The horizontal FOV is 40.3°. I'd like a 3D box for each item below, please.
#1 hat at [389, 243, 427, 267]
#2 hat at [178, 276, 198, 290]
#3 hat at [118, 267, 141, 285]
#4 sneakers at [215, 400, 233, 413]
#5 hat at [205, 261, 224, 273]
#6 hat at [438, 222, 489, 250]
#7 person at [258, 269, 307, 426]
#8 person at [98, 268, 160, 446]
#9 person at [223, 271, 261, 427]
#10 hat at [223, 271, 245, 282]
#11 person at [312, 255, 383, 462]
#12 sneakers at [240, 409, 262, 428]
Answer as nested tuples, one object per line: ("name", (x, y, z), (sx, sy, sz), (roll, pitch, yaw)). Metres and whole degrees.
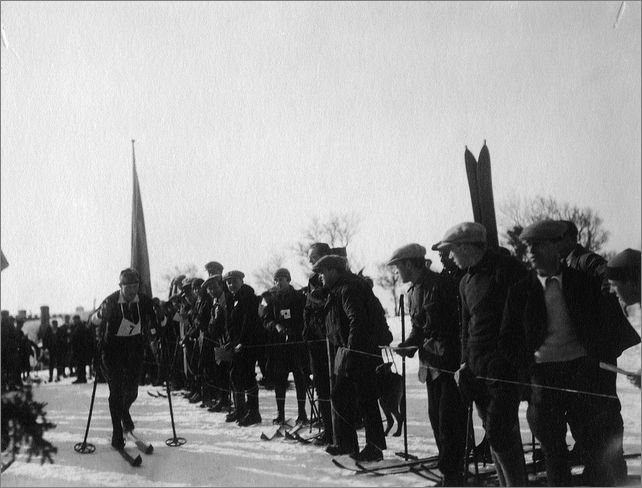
("hat", (0.989, 0.107, 9.832), (0.468, 0.287, 0.377), (4, -14, 5))
("hat", (-2.598, 0.741, 17.087), (0.265, 0.101, 0.308), (-3, 7, 21))
("hat", (-2.645, 0.444, 12.055), (0.217, 0.318, 0.314), (-3, 5, -9))
("sneakers", (-1.663, 2.789, 14.992), (0.344, 0.293, 0.148), (2, -8, 3))
("hat", (-1.792, 0.379, 14.620), (0.284, 0.180, 0.415), (1, 9, -20))
("hat", (1.455, -0.069, 8.755), (0.355, 0.219, 0.288), (-1, -10, 11))
("person", (-0.498, 1.557, 13.329), (0.573, 2.331, 1.057), (2, -13, -9))
("person", (-2.677, 1.540, 11.771), (0.804, 2.410, 0.412), (4, -13, -18))
("person", (-1.212, 1.631, 13.586), (0.634, 2.406, 0.601), (-4, -13, 16))
("hat", (-1.316, 0.483, 13.273), (0.301, 0.186, 0.465), (1, -8, -13))
("person", (0.343, 1.384, 10.672), (0.783, 2.494, 0.646), (-10, -16, 39))
("sneakers", (-1.067, 2.666, 13.351), (0.373, 0.319, 0.153), (0, -7, 7))
